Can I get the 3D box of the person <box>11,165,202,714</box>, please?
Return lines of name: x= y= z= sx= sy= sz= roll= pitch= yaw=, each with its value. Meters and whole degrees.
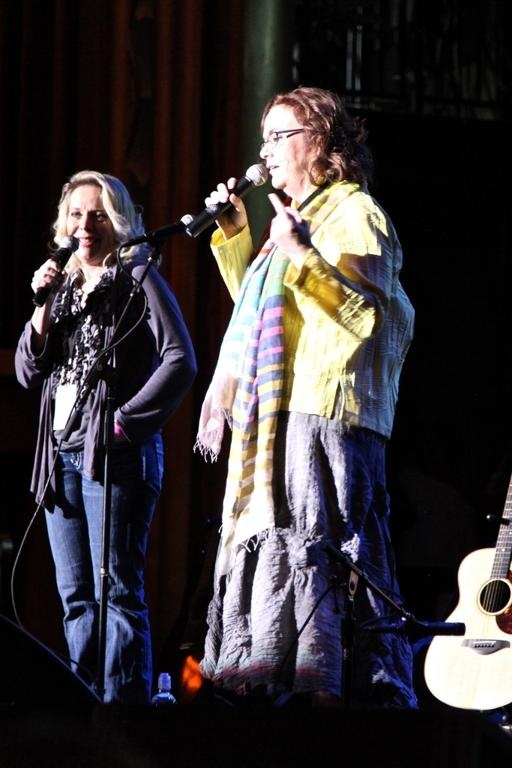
person: x=-0.346 y=0.136 z=2.824 sx=0.395 sy=1.341 sz=0.614 roll=0 pitch=3 yaw=-23

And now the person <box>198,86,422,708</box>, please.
person: x=0.100 y=-0.002 z=2.372 sx=0.480 sy=1.244 sz=0.461 roll=2 pitch=3 yaw=8

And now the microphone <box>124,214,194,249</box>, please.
microphone: x=-0.212 y=-0.329 z=2.567 sx=0.155 sy=0.067 sz=0.203 roll=2 pitch=3 yaw=-4
